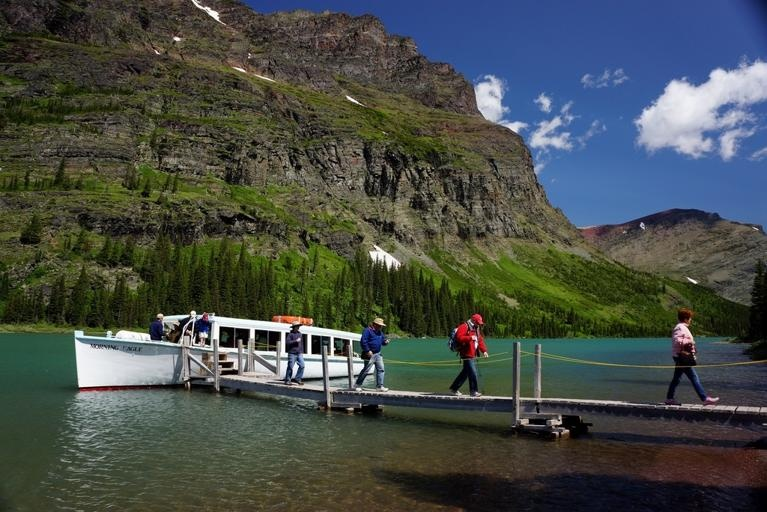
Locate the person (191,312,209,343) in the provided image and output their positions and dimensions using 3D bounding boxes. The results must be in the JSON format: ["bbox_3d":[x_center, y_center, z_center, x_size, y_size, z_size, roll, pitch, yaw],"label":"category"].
[{"bbox_3d":[-14.091,5.677,44.870,0.967,2.439,1.515,9,-11,-40],"label":"person"}]

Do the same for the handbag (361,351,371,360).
[{"bbox_3d":[-1.093,6.222,36.024,0.657,0.518,0.591,0,2,-6],"label":"handbag"}]

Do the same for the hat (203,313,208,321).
[{"bbox_3d":[-13.827,4.667,44.633,0.500,0.478,0.825,3,-8,-14],"label":"hat"}]

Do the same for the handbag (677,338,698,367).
[{"bbox_3d":[15.413,5.000,29.393,1.161,1.176,0.486,5,-9,-22],"label":"handbag"}]

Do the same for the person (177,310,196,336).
[{"bbox_3d":[-15.398,5.398,45.509,1.331,2.232,0.738,10,-15,19],"label":"person"}]
